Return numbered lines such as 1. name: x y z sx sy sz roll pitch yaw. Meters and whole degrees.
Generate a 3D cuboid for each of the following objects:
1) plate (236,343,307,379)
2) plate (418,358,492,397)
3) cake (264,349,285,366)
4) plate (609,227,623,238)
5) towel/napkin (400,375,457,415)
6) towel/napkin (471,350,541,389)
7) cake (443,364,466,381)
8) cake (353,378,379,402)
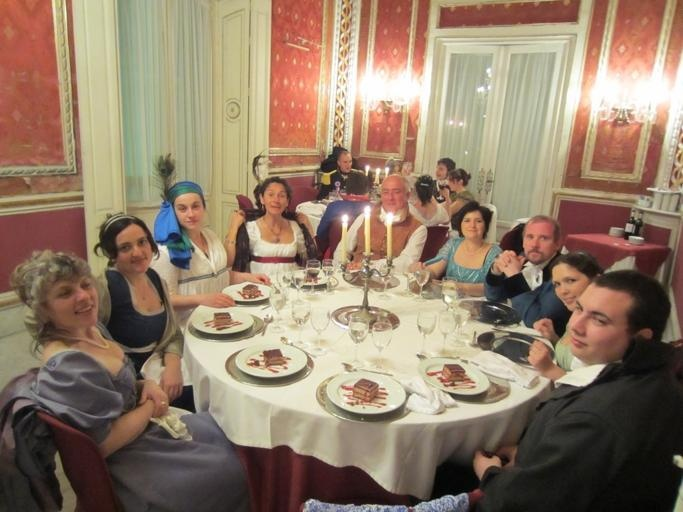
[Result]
1. plate: -0.319 0.502 2.390 0.176 0.020 0.176 20 25 37
2. plate: 0.515 0.566 2.357 0.175 0.020 0.182 -15 25 -41
3. cake: -0.320 0.476 2.401 0.071 0.030 0.072 -3 18 -25
4. plate: 2.887 -0.238 5.377 0.142 0.105 0.146 10 17 22
5. towel/napkin: 0.368 0.613 2.215 0.148 0.048 0.152 7 16 15
6. towel/napkin: 0.772 0.539 2.417 0.158 0.065 0.203 -12 27 -42
7. cake: 0.520 0.540 2.352 0.070 0.046 0.073 1 2 3
8. cake: 0.109 0.576 2.223 0.081 0.054 0.083 11 10 28
